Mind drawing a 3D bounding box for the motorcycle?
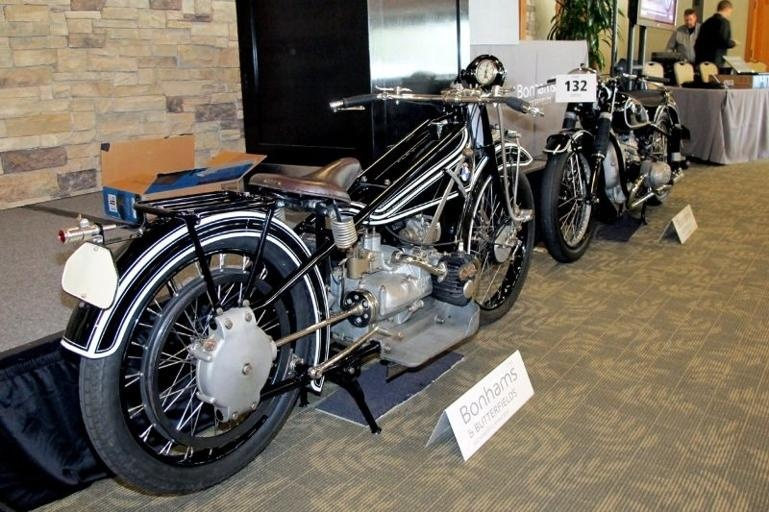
[{"bbox_3d":[0.143,-0.153,2.622,3.067,1.464,0.666,-20,24,-38],"label":"motorcycle"}]

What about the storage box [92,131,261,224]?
[{"bbox_3d":[-0.828,-0.374,2.003,0.527,0.274,0.368,-16,24,-42],"label":"storage box"}]
